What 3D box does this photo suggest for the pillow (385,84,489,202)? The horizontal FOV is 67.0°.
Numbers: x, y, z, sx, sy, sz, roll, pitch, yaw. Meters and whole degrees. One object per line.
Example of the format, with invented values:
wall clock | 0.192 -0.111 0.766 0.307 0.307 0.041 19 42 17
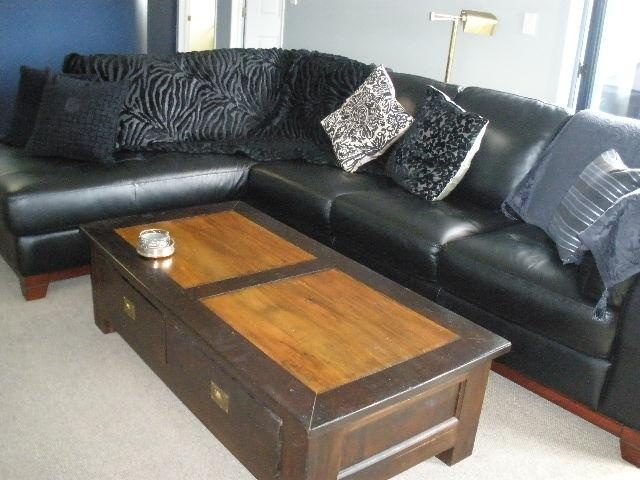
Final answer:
pillow | 0.609 -0.490 2.561 0.200 0.598 0.608 10 24 -31
